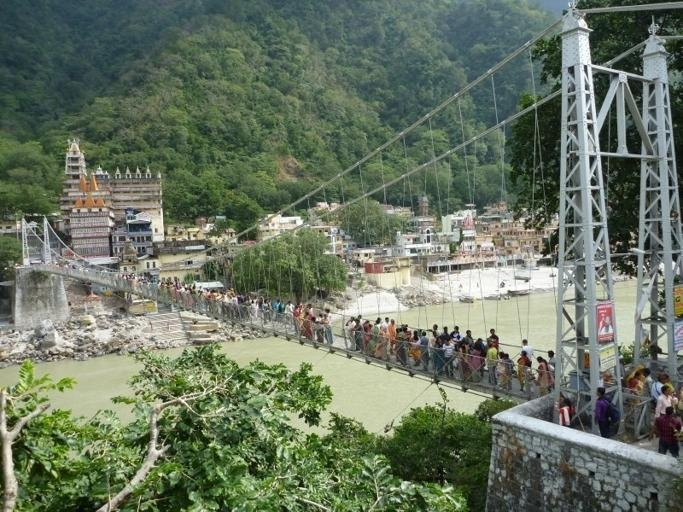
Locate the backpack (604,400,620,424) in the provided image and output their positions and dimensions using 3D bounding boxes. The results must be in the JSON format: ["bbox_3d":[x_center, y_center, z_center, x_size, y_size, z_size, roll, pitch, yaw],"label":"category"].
[{"bbox_3d":[3.950,2.274,10.131,0.153,0.252,0.306,-2,-1,28],"label":"backpack"}]
